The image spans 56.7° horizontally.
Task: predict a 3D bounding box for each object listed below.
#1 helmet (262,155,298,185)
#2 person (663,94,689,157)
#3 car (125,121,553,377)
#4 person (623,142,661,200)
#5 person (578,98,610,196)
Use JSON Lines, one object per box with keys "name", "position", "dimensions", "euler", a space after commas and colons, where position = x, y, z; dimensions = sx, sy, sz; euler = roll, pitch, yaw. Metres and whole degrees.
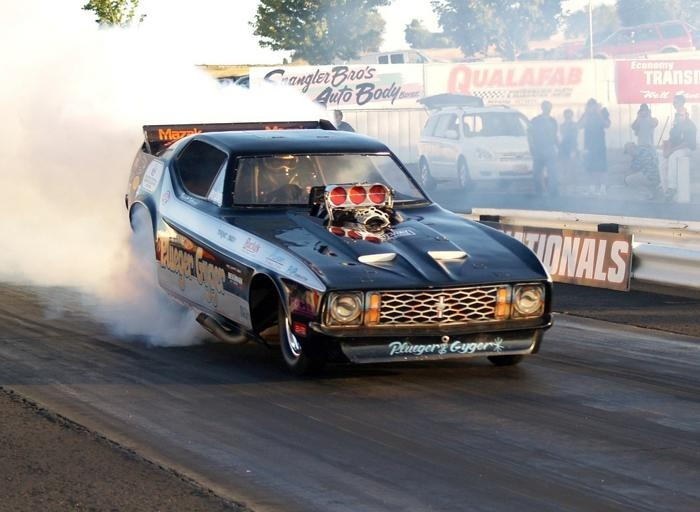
{"name": "helmet", "position": [-0.658, -0.792, 6.084], "dimensions": [0.305, 0.307, 0.249], "euler": [3, 58, -12]}
{"name": "person", "position": [9.127, -3.590, 18.046], "dimensions": [0.702, 1.677, 1.383], "euler": [4, 9, 24]}
{"name": "car", "position": [-0.503, -0.233, 5.766], "dimensions": [2.174, 0.981, 3.524], "euler": [-4, 9, -31]}
{"name": "person", "position": [8.093, -2.295, 17.813], "dimensions": [0.862, 1.458, 0.890], "euler": [3, 9, 18]}
{"name": "person", "position": [7.644, -3.368, 20.350], "dimensions": [0.857, 2.868, 1.622], "euler": [3, 9, 19]}
